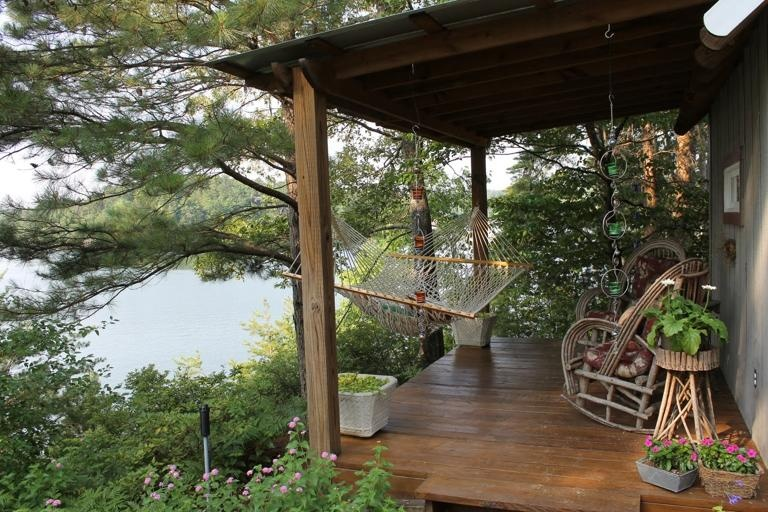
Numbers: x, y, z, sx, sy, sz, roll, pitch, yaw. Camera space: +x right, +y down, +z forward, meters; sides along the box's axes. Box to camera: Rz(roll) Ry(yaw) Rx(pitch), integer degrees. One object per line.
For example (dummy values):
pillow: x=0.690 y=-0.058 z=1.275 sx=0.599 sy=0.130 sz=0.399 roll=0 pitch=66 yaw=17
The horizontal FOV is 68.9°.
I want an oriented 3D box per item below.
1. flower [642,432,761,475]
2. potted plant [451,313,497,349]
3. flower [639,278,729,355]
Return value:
flower: x=2.224 y=1.411 z=3.949 sx=0.499 sy=0.157 sz=0.364 roll=0 pitch=-1 yaw=20
potted plant: x=1.197 y=1.016 z=7.546 sx=0.503 sy=0.451 sz=0.617 roll=-3 pitch=-6 yaw=29
flower: x=2.224 y=0.444 z=4.174 sx=0.531 sy=0.403 sz=0.543 roll=-3 pitch=6 yaw=13
